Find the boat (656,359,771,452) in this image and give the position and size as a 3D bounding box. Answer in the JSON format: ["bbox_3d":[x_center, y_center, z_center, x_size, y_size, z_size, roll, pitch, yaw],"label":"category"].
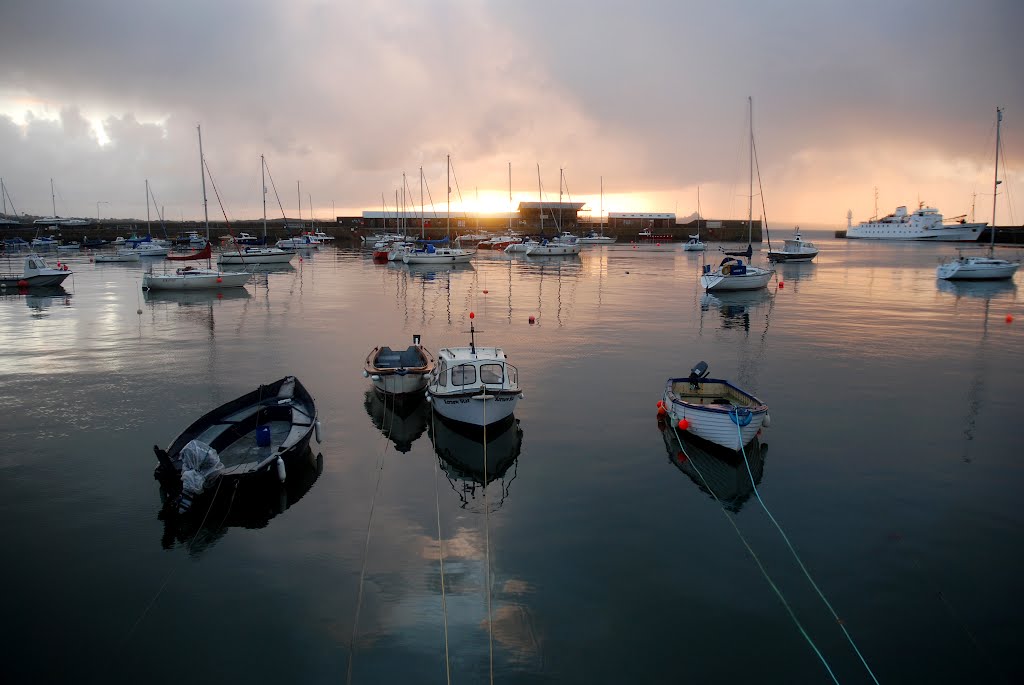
[{"bbox_3d":[6.839,2.199,30.597,3.828,2.727,3.494,1,6,4],"label":"boat"}]

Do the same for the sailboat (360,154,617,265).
[{"bbox_3d":[-2.673,-14.598,120.628,43.621,19.975,15.547,-2,12,-4],"label":"sailboat"}]

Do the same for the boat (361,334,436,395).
[{"bbox_3d":[-4.215,1.145,33.712,2.489,1.381,2.559,-3,10,-7],"label":"boat"}]
